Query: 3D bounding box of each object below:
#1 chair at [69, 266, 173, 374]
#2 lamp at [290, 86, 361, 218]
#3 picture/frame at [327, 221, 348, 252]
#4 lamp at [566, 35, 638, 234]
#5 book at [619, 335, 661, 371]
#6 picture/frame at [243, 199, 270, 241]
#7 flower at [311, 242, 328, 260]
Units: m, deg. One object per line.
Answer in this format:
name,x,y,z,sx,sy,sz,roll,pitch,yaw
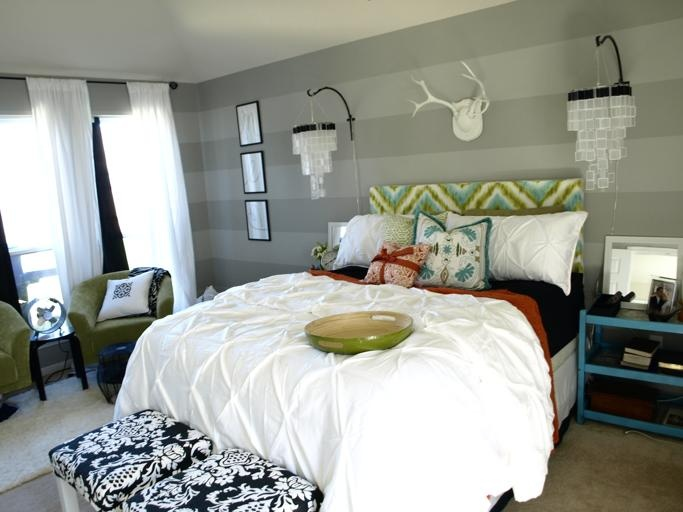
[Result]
chair,-2.181,0.579,4.815,0.979,0.927,0.823,-4,-1,-25
lamp,-0.104,-0.988,4.609,0.590,1.274,0.385,2,14,26
picture/frame,-0.036,-0.188,4.891,0.022,0.366,0.314,2,-2,-43
lamp,1.851,-0.948,3.249,0.373,0.928,0.300,-11,11,-3
book,2.059,0.679,3.307,0.179,0.139,0.289,7,14,41
picture/frame,-1.012,-0.443,5.772,0.440,0.569,0.036,5,12,40
flower,-0.220,-0.050,4.957,0.167,0.119,0.176,-12,-3,20
